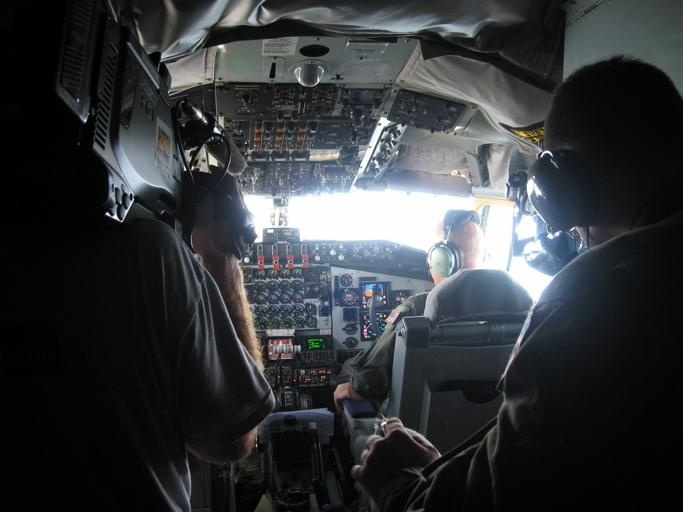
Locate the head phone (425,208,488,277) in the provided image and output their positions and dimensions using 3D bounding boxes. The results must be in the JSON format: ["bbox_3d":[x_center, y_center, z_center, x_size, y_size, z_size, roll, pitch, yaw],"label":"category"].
[{"bbox_3d":[0.741,-0.066,3.623,0.207,0.431,0.483,10,0,29],"label":"head phone"}]

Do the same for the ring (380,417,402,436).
[{"bbox_3d":[0.149,0.530,1.773,0.061,0.030,0.083,-16,2,4],"label":"ring"}]
